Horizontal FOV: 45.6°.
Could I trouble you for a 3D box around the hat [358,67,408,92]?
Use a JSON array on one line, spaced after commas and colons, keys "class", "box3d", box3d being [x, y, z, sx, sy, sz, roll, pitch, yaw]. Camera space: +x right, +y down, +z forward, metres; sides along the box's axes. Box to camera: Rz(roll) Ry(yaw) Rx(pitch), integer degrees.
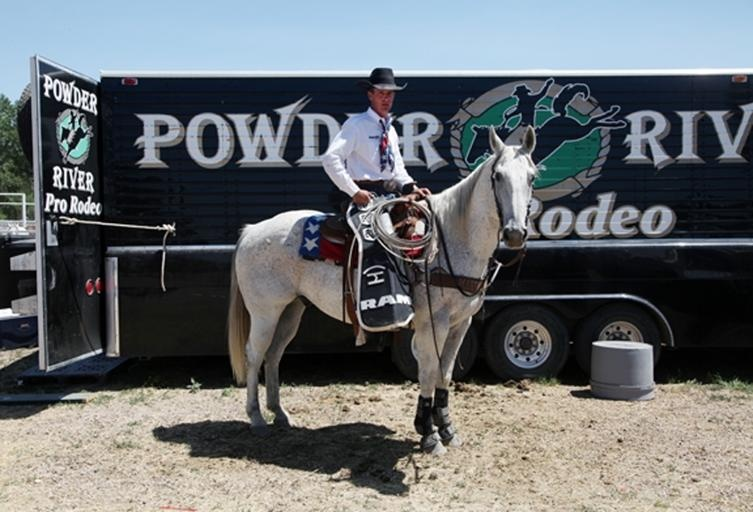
[{"class": "hat", "box3d": [0.057, -2.043, 10.468, 0.318, 0.245, 0.356, -2, 4, -41]}]
